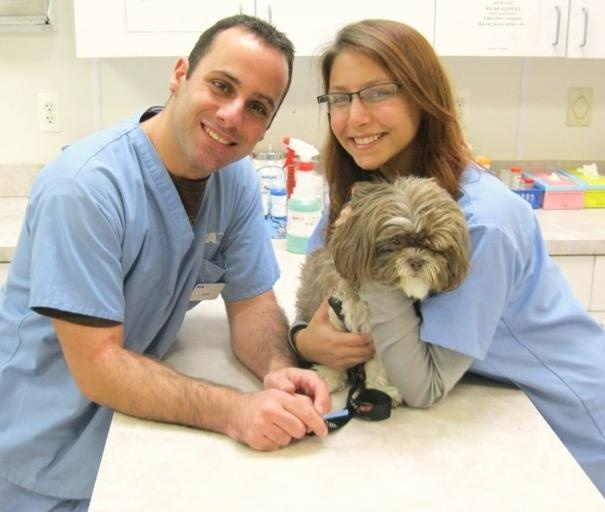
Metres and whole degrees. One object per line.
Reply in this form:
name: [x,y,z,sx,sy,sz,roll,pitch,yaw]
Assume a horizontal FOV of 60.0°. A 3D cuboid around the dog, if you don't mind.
dog: [0.199,0.041,1.618,0.380,0.636,0.630,-5,18,-22]
